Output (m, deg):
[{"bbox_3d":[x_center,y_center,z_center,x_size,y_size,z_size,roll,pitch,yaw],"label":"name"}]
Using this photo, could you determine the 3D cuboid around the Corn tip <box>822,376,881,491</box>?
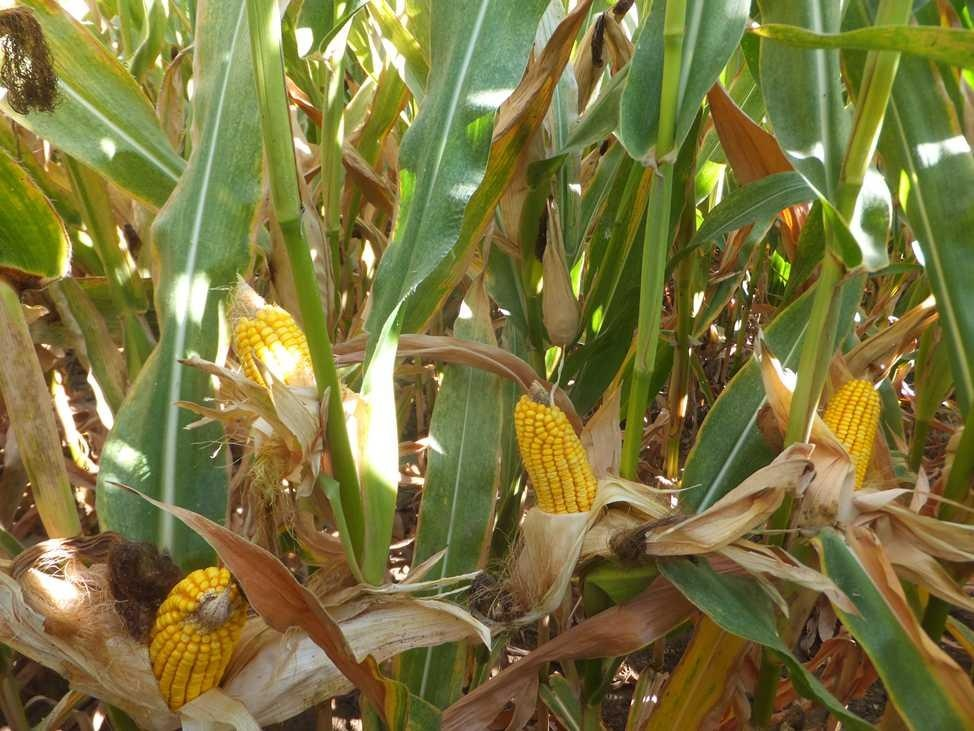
[{"bbox_3d":[1.031,0.164,2.625,0.112,0.406,0.116,24,-16,-23],"label":"Corn tip"}]

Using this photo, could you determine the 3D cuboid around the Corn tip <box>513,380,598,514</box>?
[{"bbox_3d":[0.177,0.242,2.616,0.147,0.446,0.144,-19,7,-26],"label":"Corn tip"}]
